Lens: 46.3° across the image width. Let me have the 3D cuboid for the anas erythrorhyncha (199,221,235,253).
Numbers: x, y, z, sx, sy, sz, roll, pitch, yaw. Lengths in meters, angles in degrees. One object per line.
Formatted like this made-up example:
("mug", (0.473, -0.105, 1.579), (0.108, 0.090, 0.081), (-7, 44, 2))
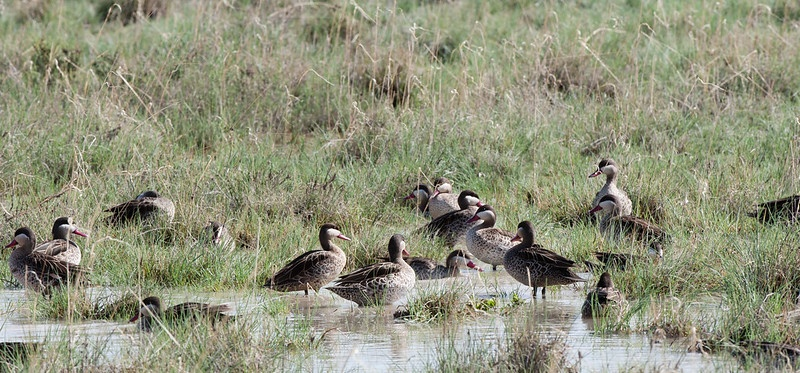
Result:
("anas erythrorhyncha", (-3.614, 0.987, 18.477), (0.396, 0.378, 0.937), (-20, 15, -8))
